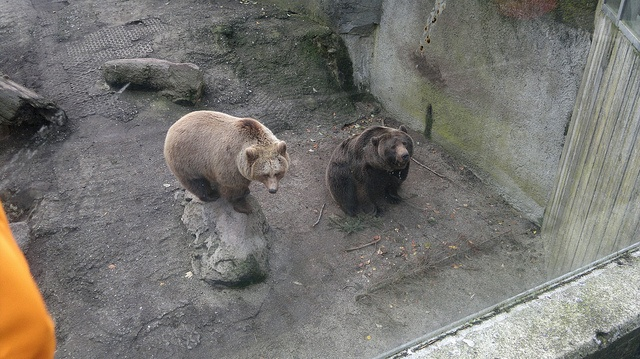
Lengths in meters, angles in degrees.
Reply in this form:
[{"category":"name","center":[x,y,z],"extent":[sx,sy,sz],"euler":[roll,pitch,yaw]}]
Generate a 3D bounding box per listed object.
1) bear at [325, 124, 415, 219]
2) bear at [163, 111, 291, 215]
[{"category":"bear","center":[0.905,-0.168,8.232],"extent":[1.128,1.329,1.753],"euler":[-22,19,-39]},{"category":"bear","center":[-1.306,-0.292,7.616],"extent":[2.097,1.421,1.063],"euler":[14,36,30]}]
